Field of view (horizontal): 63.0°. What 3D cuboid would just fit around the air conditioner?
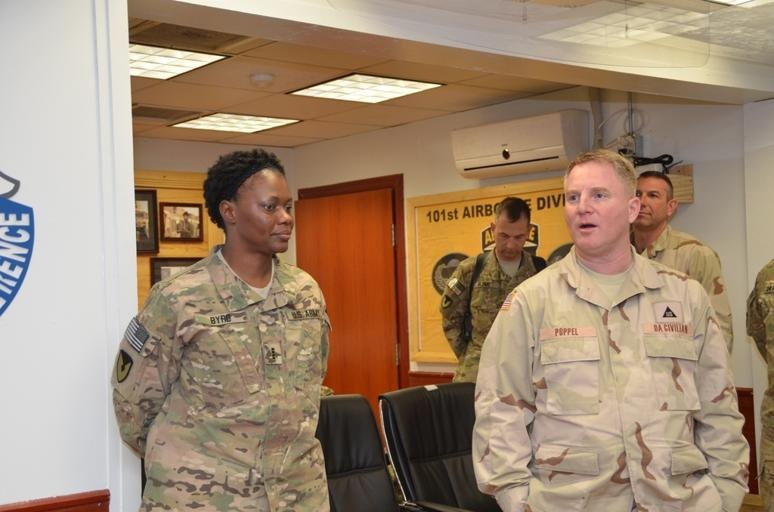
[{"bbox_3d":[1.201,-0.981,5.732,0.362,0.474,1.394,-12,9,-32],"label":"air conditioner"}]

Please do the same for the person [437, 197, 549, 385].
[{"bbox_3d":[0.897,0.616,4.887,0.854,1.971,0.444,-1,8,-2],"label":"person"}]
